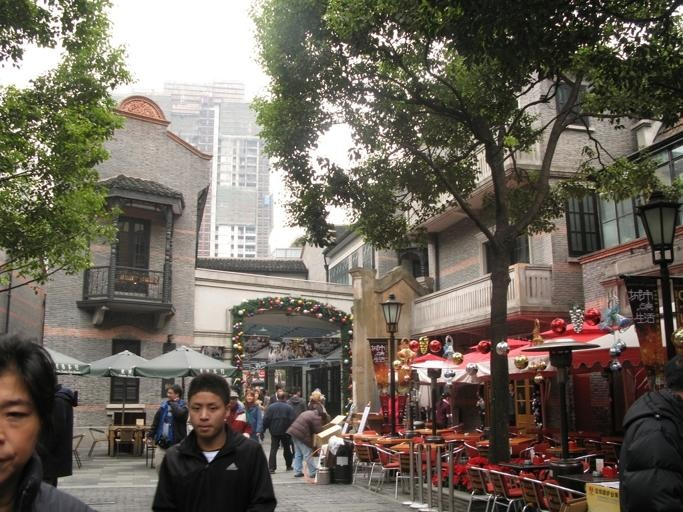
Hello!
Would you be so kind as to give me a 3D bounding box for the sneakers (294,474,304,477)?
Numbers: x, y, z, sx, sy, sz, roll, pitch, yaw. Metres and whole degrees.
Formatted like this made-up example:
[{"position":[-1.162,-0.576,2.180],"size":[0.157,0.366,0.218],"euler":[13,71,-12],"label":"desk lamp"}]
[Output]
[{"position":[-1.042,5.397,21.168],"size":[0.240,0.086,0.081],"euler":[1,-7,-11],"label":"sneakers"}]
